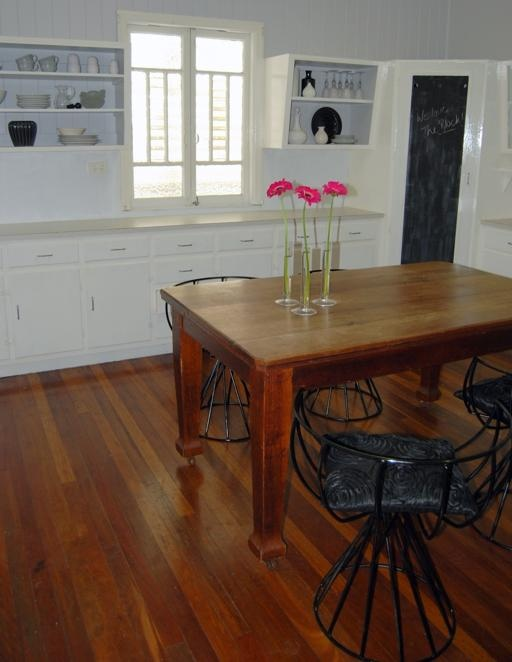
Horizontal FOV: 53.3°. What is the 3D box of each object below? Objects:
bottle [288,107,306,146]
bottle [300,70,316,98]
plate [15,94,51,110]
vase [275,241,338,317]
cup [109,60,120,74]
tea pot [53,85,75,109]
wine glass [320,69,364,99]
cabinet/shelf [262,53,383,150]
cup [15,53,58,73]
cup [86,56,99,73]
[{"bbox_3d":[0.347,-1.787,4.482,0.151,0.305,0.427,0,18,4],"label":"bottle"},{"bbox_3d":[0.443,-2.154,4.460,0.112,0.223,0.246,0,18,5],"label":"bottle"},{"bbox_3d":[-1.522,-1.559,3.477,0.163,0.067,0.154,-9,17,-31],"label":"plate"},{"bbox_3d":[0.151,-0.243,2.129,0.252,0.308,0.302,9,18,30],"label":"vase"},{"bbox_3d":[-1.013,-1.856,3.609,0.067,0.109,0.133,-5,18,-13],"label":"cup"},{"bbox_3d":[-1.384,-1.671,3.661,0.162,0.178,0.328,-7,19,-19],"label":"tea pot"},{"bbox_3d":[0.759,-2.216,4.582,0.328,0.338,0.185,-3,16,-11],"label":"wine glass"},{"bbox_3d":[0.549,-1.982,4.467,0.942,0.725,0.496,-10,19,-26],"label":"cabinet/shelf"},{"bbox_3d":[-1.496,-1.791,3.483,0.264,0.119,0.185,-6,14,-34],"label":"cup"},{"bbox_3d":[-1.164,-1.869,3.603,0.072,0.107,0.100,-7,18,-17],"label":"cup"}]
